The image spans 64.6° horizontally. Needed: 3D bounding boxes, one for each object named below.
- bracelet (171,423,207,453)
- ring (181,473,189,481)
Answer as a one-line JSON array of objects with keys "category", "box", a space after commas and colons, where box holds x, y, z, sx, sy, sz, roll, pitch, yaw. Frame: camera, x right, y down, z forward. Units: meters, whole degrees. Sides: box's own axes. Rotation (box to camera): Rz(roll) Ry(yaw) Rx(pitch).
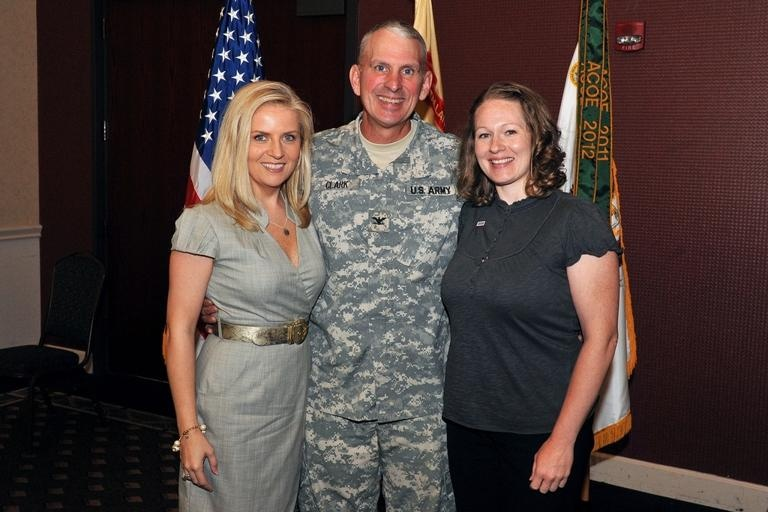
[{"category": "bracelet", "box": [-0.818, 0.773, 2.567, 0.135, 0.131, 0.092, -1, 14, -11]}, {"category": "ring", "box": [-0.842, 0.939, 2.583, 0.017, 0.036, 0.051, -34, -11, -27]}]
